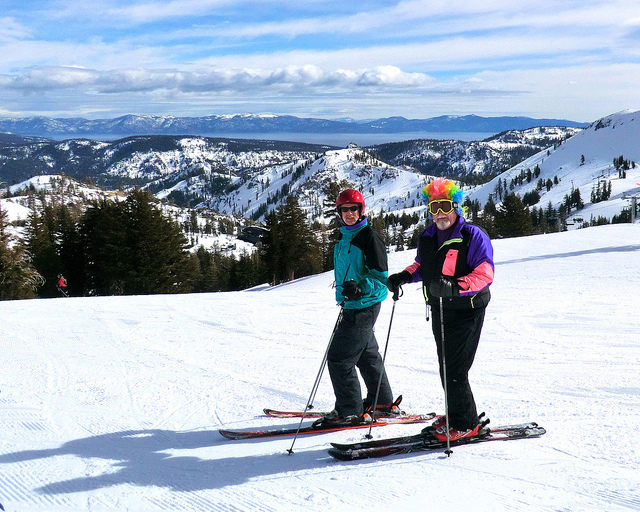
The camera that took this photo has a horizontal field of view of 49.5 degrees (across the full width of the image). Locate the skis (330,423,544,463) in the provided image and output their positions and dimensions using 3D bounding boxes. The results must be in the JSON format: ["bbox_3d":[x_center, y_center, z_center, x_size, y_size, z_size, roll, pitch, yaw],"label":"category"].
[{"bbox_3d":[1.605,2.515,9.298,1.734,0.150,0.288,-6,16,-2],"label":"skis"}]

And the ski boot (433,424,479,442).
[{"bbox_3d":[1.763,2.381,9.362,0.680,0.231,0.270,1,43,1],"label":"ski boot"}]

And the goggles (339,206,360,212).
[{"bbox_3d":[0.412,-0.663,9.644,0.261,0.083,0.054,0,10,6],"label":"goggles"}]
